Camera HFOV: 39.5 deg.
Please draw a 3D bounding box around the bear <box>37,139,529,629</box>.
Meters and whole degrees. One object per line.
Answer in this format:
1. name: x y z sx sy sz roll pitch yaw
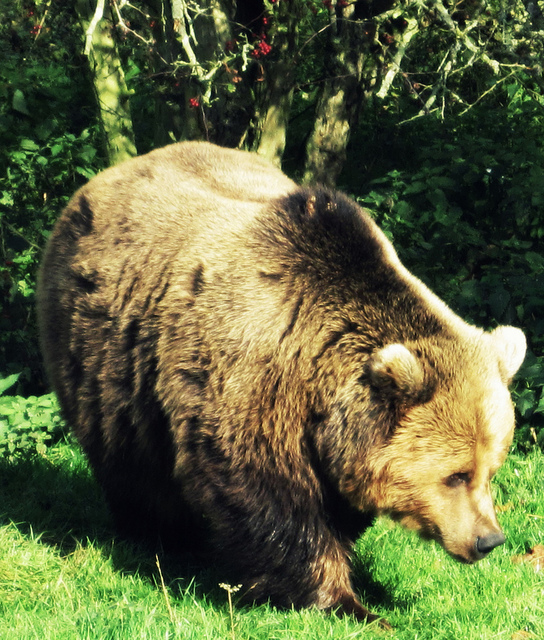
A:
1. bear: -0.086 0.300 3.798 1.508 1.900 2.614 -6 18 -44
